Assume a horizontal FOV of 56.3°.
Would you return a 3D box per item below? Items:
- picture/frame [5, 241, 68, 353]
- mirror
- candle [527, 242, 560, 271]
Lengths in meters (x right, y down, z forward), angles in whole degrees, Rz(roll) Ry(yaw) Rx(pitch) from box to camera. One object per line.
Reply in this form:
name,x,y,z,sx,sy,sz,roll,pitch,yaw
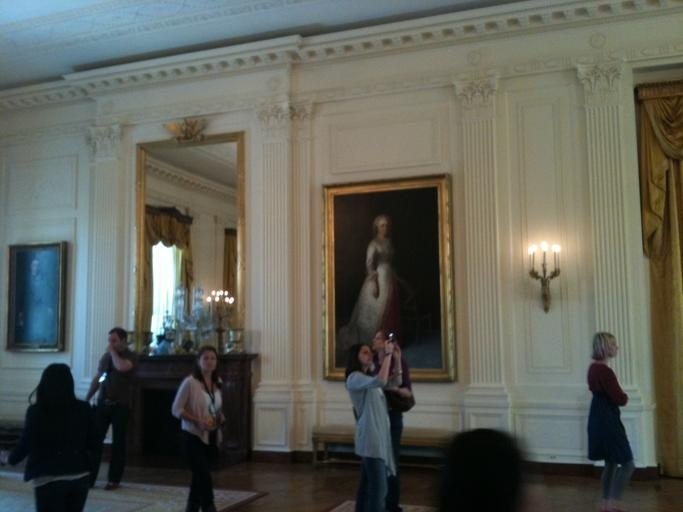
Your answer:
picture/frame,-5.377,0.715,11.176,1.193,1.862,0.205,-1,-6,18
mirror,-2.537,-0.432,10.520,2.107,3.744,0.491,-2,-6,27
candle,2.862,0.005,8.971,0.443,0.402,0.168,-1,-6,24
